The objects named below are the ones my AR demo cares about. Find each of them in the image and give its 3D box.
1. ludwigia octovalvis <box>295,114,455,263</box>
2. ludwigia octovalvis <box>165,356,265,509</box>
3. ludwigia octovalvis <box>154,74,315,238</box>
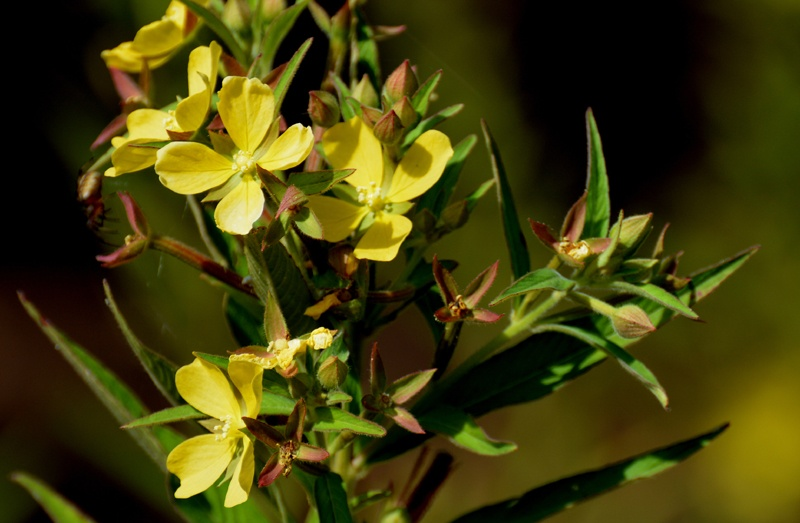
[{"bbox_3d":[-0.064,-0.258,2.715,0.483,0.400,0.312,-4,28,10],"label":"ludwigia octovalvis"},{"bbox_3d":[-0.544,0.551,2.670,0.171,0.470,0.416,-11,16,-41],"label":"ludwigia octovalvis"},{"bbox_3d":[-0.536,-0.411,2.778,0.408,0.191,0.516,-25,-18,11],"label":"ludwigia octovalvis"}]
